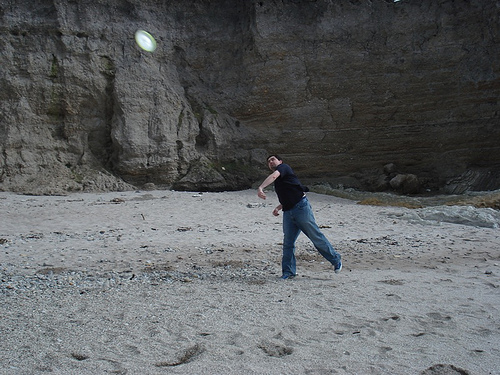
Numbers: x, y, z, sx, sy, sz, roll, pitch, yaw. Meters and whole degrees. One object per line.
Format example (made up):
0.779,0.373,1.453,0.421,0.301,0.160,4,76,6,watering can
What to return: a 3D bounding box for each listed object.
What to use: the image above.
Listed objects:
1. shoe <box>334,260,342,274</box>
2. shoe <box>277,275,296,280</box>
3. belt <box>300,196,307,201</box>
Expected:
1.531,1.354,7.384,0.123,0.196,0.300,7,10,14,shoe
0.617,1.485,7.069,0.294,0.052,0.090,1,10,-10,shoe
0.915,0.189,7.214,0.090,0.017,0.077,-21,8,16,belt
